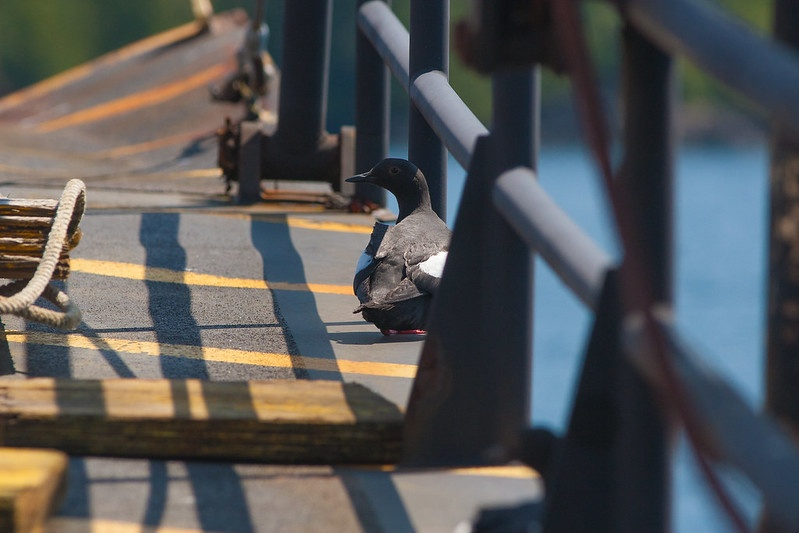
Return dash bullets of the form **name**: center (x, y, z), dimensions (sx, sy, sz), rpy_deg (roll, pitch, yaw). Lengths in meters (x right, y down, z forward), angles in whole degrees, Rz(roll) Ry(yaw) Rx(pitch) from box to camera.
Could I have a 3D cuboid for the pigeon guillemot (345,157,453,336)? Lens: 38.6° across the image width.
- **pigeon guillemot**: center (-0.007, -0.093, 5.416), dimensions (0.376, 0.901, 0.956), rpy_deg (-2, 9, 20)
